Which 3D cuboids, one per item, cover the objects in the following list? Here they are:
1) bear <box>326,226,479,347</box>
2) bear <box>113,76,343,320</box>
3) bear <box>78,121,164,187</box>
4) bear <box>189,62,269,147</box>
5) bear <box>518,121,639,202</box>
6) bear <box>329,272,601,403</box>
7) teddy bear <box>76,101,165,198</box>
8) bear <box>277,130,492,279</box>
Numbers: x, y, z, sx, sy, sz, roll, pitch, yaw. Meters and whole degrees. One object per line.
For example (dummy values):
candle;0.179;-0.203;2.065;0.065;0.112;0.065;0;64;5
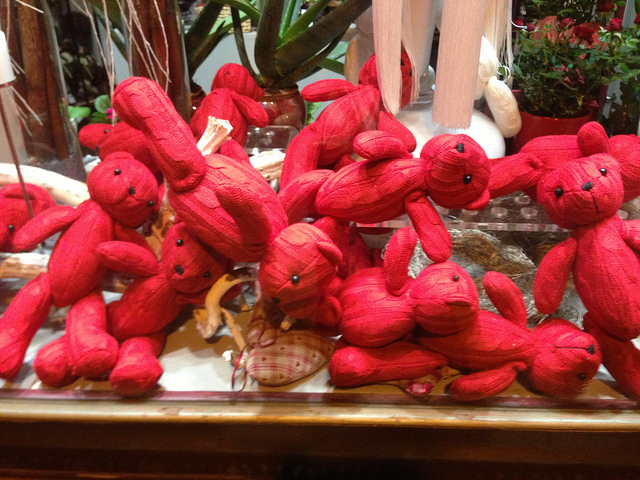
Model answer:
bear;0.115;0.061;0.644;0.220;0.109;0.130;-14;53;30
bear;-0.107;-0.054;0.636;0.152;0.274;0.254;-20;31;-34
bear;-0.291;-0.135;0.783;0.144;0.059;0.097;18;16;10
bear;-0.147;-0.219;0.863;0.166;0.138;0.117;13;18;32
bear;0.353;-0.108;0.735;0.173;0.093;0.105;1;33;25
bear;0.188;0.120;0.667;0.301;0.080;0.210;11;57;23
teddy bear;-0.295;-0.151;0.772;0.151;0.074;0.052;22;35;21
bear;0.069;-0.033;0.719;0.290;0.120;0.181;-16;61;4
